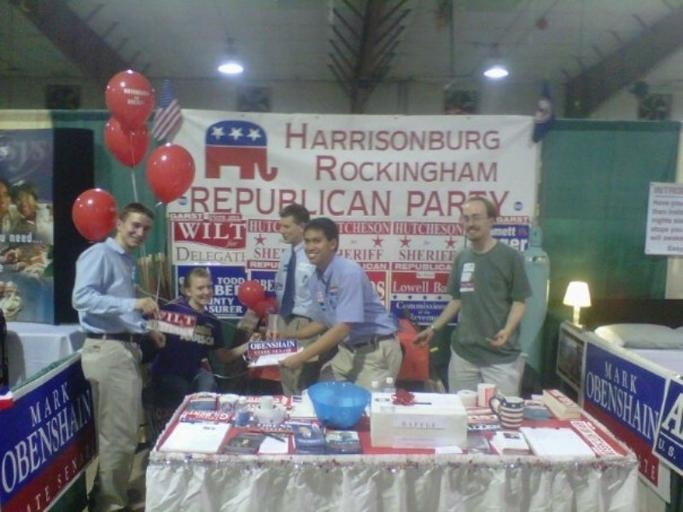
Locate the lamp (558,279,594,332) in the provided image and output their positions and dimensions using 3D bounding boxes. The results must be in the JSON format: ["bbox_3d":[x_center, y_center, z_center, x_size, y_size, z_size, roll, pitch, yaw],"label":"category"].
[{"bbox_3d":[2.143,0.463,6.511,0.227,0.499,0.235,-14,18,-40],"label":"lamp"}]

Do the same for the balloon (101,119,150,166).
[{"bbox_3d":[-1.764,-0.955,5.949,0.341,0.464,0.334,3,6,36],"label":"balloon"}]

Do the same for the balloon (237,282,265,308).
[{"bbox_3d":[-0.828,0.341,6.560,0.214,0.275,0.233,-10,45,1],"label":"balloon"}]

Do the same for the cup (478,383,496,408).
[{"bbox_3d":[1.016,0.988,5.060,0.094,0.166,0.161,-1,-7,6],"label":"cup"}]

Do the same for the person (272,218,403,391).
[{"bbox_3d":[-0.009,0.659,5.519,0.960,1.794,0.642,-7,11,-13],"label":"person"}]

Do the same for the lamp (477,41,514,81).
[{"bbox_3d":[1.782,-2.249,8.257,0.303,0.378,0.324,-5,30,2],"label":"lamp"}]

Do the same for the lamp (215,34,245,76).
[{"bbox_3d":[-1.251,-2.263,8.073,0.310,0.392,0.325,0,5,-3],"label":"lamp"}]

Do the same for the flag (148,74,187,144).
[{"bbox_3d":[-1.527,-1.258,6.190,0.254,0.718,0.068,0,-31,-18],"label":"flag"}]

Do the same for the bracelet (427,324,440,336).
[{"bbox_3d":[0.757,0.612,5.848,0.071,0.054,0.075,11,-24,30],"label":"bracelet"}]

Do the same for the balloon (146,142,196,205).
[{"bbox_3d":[-1.422,-0.662,5.895,0.398,0.570,0.431,-2,-9,-7],"label":"balloon"}]

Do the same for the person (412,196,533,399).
[{"bbox_3d":[1.084,0.693,5.922,0.868,2.371,0.636,1,17,16],"label":"person"}]

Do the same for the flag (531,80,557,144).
[{"bbox_3d":[1.881,-1.332,6.670,0.183,0.554,0.285,1,5,27],"label":"flag"}]

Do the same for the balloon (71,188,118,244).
[{"bbox_3d":[-1.975,-0.317,5.688,0.363,0.489,0.378,2,-11,-24],"label":"balloon"}]
